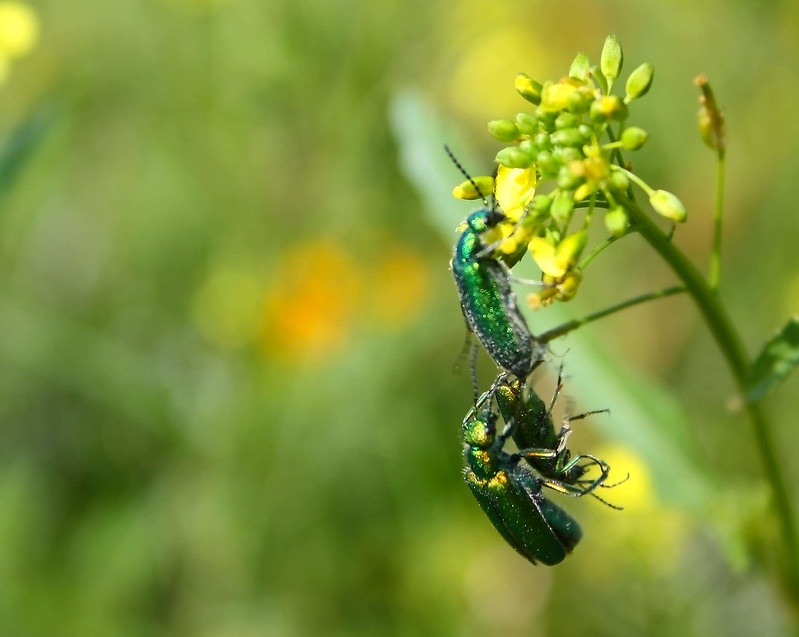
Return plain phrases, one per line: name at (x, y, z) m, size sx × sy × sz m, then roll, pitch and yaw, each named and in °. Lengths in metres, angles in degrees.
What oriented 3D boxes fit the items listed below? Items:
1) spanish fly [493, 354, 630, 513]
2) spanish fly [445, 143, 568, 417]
spanish fly at (0.680, 0.479, 3.990) m, size 0.342 × 1.002 × 0.457 m, roll 3°, pitch 19°, yaw 21°
spanish fly at (0.423, -0.159, 3.746) m, size 0.331 × 0.407 × 1.024 m, roll 4°, pitch -61°, yaw 12°
